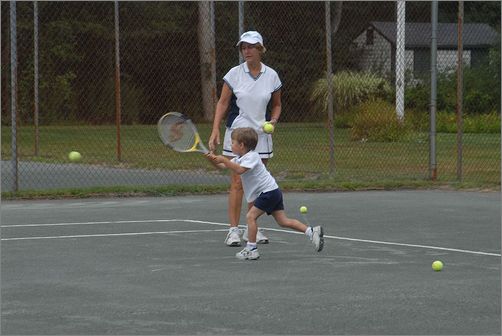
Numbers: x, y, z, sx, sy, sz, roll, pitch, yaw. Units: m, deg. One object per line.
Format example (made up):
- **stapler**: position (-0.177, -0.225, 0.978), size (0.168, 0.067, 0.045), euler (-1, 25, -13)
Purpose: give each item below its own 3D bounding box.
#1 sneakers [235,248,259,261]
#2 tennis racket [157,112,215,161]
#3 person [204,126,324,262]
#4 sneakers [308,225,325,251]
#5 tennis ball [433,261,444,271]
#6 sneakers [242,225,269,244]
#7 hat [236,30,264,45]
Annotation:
- **sneakers**: position (-0.036, 0.977, 6.858), size (0.258, 0.140, 0.115), euler (1, 2, 10)
- **tennis racket**: position (-0.865, -0.429, 7.485), size (0.567, 0.516, 0.768), euler (-2, 5, -10)
- **person**: position (0.111, 0.274, 7.009), size (1.224, 1.485, 0.561), euler (-1, 5, -6)
- **sneakers**: position (0.755, 0.795, 6.867), size (0.152, 0.329, 0.118), euler (-5, 29, 16)
- **tennis ball**: position (2.008, 1.048, 6.457), size (0.087, 0.096, 0.091), euler (-10, -9, -2)
- **sneakers**: position (0.030, 0.855, 7.610), size (0.145, 0.203, 0.408), euler (3, -2, -36)
- **hat**: position (-0.007, -1.626, 7.544), size (0.312, 0.207, 0.364), euler (-1, 5, -1)
